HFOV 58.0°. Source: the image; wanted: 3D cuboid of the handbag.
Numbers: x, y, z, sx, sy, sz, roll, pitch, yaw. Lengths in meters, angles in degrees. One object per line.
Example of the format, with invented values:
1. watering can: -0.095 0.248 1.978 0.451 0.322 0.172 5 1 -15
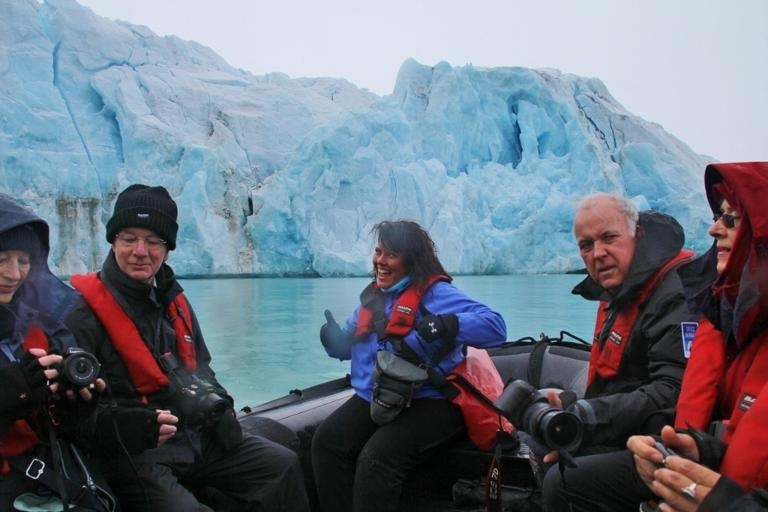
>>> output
1. handbag: 0.114 0.795 4.112 0.294 0.377 0.347 10 16 -45

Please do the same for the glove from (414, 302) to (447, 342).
1. glove: 0.282 0.403 4.171 0.177 0.220 0.304 -2 -3 0

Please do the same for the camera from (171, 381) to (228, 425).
1. camera: -1.041 0.839 4.026 0.340 0.193 0.311 9 2 13

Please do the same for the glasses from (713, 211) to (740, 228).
1. glasses: 1.696 -0.178 3.403 0.102 0.030 0.097 23 -4 -12

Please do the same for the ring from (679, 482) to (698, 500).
1. ring: 1.395 1.063 3.132 0.050 0.025 0.074 0 21 41

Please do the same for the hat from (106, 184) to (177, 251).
1. hat: -1.378 -0.214 4.175 0.414 0.378 0.425 15 -14 -32

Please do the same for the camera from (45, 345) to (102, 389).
1. camera: -1.554 0.552 3.548 0.302 0.187 0.340 -6 -1 -44
